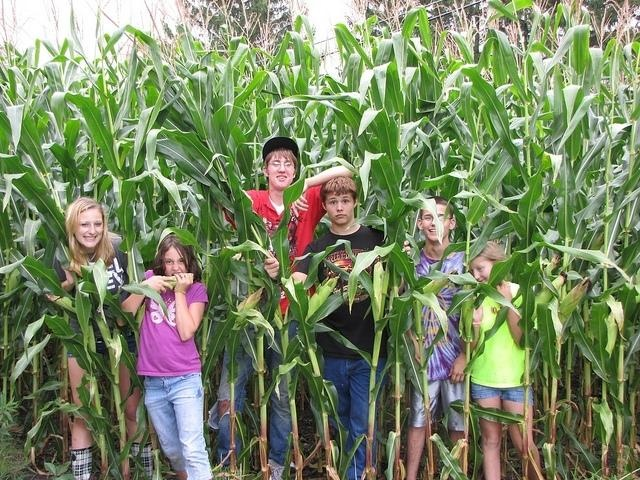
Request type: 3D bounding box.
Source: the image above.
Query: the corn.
[{"bbox_3d":[0.014,0.362,3.797,3.403,0.433,0.345,-2,-8,-1],"label":"corn"}]
